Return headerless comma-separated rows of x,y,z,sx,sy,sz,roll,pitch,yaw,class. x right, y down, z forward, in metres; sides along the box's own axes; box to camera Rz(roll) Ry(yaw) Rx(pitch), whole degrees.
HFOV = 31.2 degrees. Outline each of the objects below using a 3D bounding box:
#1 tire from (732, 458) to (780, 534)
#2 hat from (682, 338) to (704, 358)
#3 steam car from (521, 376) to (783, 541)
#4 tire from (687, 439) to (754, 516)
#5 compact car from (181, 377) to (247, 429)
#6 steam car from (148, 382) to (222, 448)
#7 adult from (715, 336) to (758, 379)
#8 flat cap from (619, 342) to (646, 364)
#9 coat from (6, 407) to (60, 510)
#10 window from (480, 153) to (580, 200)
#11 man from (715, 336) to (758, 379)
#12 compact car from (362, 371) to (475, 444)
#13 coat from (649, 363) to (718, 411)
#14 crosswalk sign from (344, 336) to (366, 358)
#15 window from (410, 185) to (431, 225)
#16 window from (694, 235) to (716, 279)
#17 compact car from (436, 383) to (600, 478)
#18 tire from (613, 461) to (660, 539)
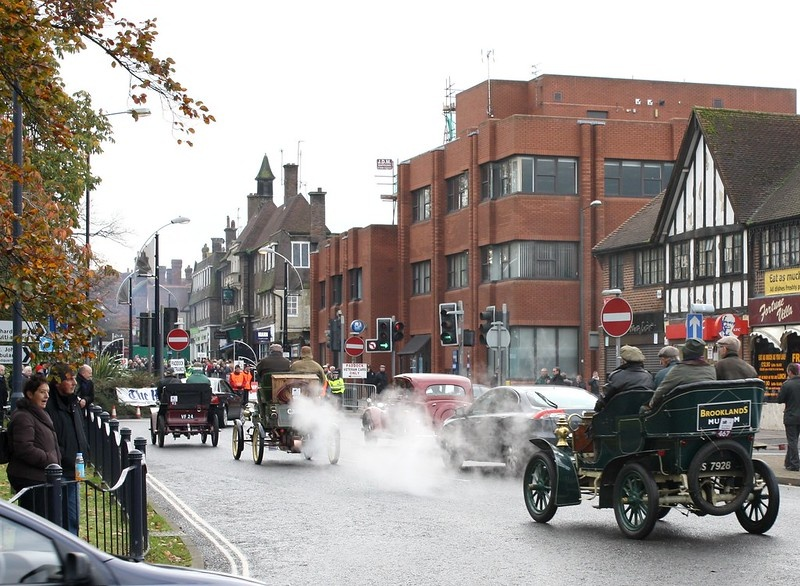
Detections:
4.911,2.841,19.798,0.304,1.161,1.024,1,1,-22,tire
4.114,0.776,19.976,0.228,0.293,0.297,0,15,-6,hat
3.494,2.309,20.367,1.941,1.689,3.143,4,-6,-32,steam car
4.348,2.518,19.471,0.939,0.992,0.400,0,-8,-3,tire
-5.263,3.079,40.006,1.235,1.051,3.003,-1,-1,2,compact car
-5.071,2.899,33.620,1.506,1.483,1.626,1,-9,-11,steam car
5.308,1.036,22.711,0.585,0.813,1.555,-2,-9,12,adult
3.325,0.890,20.716,0.355,0.203,0.501,2,-1,2,flat cap
-4.594,1.899,17.875,0.642,1.178,0.538,2,-8,-16,coat
4.795,-4.529,55.189,2.383,1.193,1.773,0,0,-21,window
5.308,1.036,22.711,0.585,0.813,1.555,-2,-9,12,man
0.328,2.516,31.619,1.253,1.083,2.225,1,-3,-25,compact car
3.891,1.191,19.634,1.081,0.920,0.555,-1,-1,-3,coat
-1.675,1.994,53.441,0.873,0.932,0.168,-23,21,-26,crosswalk sign
0.931,-3.959,63.280,0.207,1.429,1.893,0,-1,-18,window
9.930,-1.165,46.399,0.156,1.624,1.332,2,-4,-15,window
1.967,2.469,26.606,1.307,1.059,2.736,-1,-3,-30,compact car
3.269,2.847,19.717,0.170,1.049,0.964,3,-6,-23,tire
